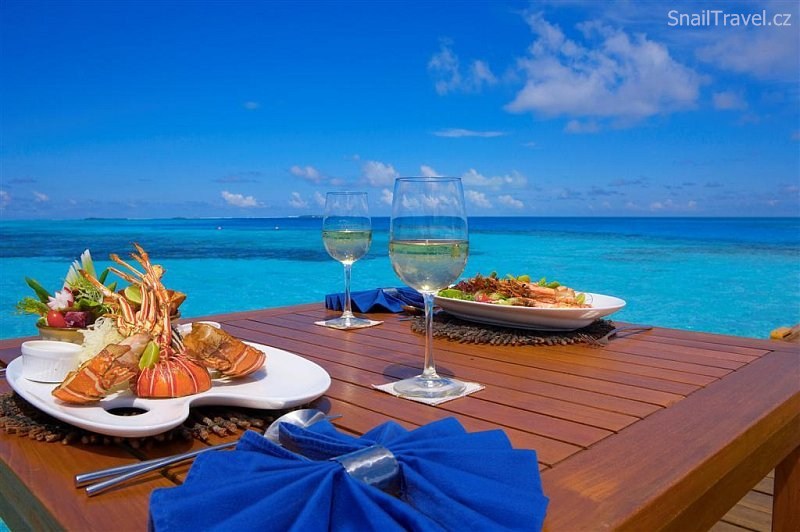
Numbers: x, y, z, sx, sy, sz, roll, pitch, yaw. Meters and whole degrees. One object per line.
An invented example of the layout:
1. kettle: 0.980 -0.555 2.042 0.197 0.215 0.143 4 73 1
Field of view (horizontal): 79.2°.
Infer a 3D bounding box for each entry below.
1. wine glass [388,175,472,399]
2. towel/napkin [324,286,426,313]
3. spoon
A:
1. wine glass: 0.096 0.048 1.102 0.232 0.444 0.246 1 3 10
2. towel/napkin: -0.028 0.134 2.313 0.631 0.088 0.487 1 3 34
3. spoon: -0.306 0.301 0.817 0.369 0.027 0.117 -3 17 -45
